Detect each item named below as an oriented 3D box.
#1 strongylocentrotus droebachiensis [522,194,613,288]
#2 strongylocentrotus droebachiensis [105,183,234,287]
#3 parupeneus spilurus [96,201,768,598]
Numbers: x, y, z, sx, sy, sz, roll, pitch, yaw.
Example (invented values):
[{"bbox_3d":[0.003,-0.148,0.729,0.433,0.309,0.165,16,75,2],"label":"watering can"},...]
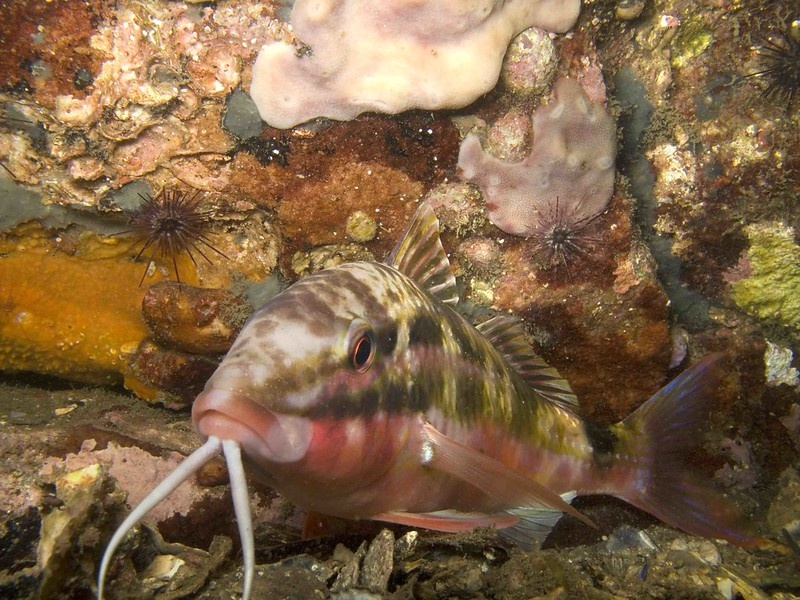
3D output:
[{"bbox_3d":[1.091,-0.416,5.588,0.416,0.485,0.182,18,-1,-6],"label":"strongylocentrotus droebachiensis"},{"bbox_3d":[-1.491,-0.431,5.389,0.550,0.599,0.250,-19,30,-3],"label":"strongylocentrotus droebachiensis"},{"bbox_3d":[0.339,0.961,6.025,4.365,2.475,1.807,11,-12,-30],"label":"parupeneus spilurus"}]
